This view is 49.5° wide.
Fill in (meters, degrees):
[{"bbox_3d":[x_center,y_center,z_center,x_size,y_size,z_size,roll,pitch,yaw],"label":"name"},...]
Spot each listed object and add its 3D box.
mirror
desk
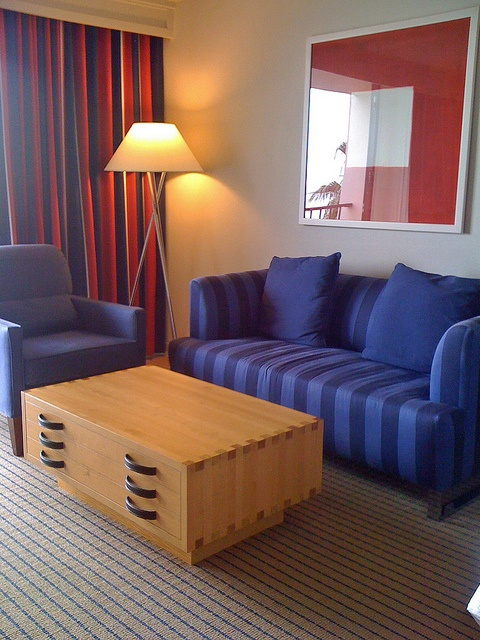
[{"bbox_3d":[0.801,-1.064,2.733,0.038,1.285,1.025,-7,12,-37],"label":"mirror"},{"bbox_3d":[-0.255,0.413,1.805,0.995,0.314,0.593,4,4,42],"label":"desk"}]
